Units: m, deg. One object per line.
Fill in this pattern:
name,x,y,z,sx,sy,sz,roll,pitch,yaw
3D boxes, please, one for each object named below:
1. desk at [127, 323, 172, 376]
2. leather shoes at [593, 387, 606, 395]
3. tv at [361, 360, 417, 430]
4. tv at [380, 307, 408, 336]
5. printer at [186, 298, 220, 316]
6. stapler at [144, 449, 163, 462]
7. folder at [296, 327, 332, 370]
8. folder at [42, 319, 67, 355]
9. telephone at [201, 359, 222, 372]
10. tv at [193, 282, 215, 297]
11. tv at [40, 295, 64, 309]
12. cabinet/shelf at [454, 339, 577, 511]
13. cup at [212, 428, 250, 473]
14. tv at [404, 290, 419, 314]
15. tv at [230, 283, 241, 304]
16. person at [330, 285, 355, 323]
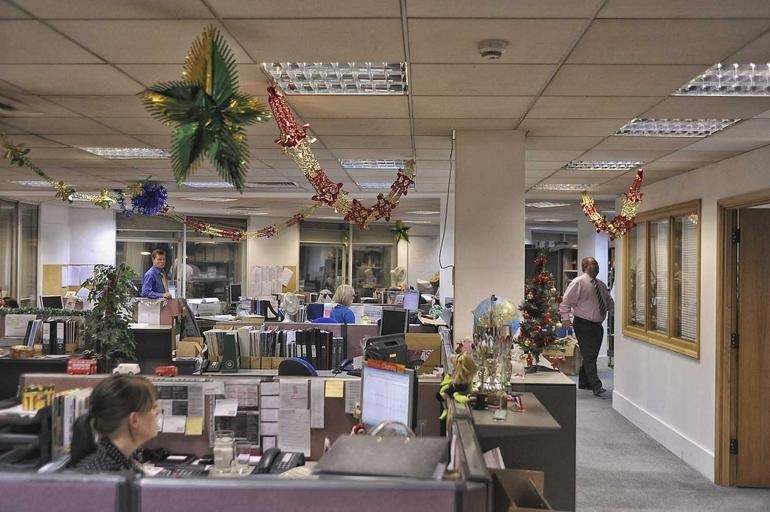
desk,-2.579,0.994,6.814,0.664,0.624,0.466,0,-2,-11
leather shoes,3.238,2.066,9.122,0.091,0.101,0.239,-4,-15,-22
tv,0.022,0.906,3.844,0.156,0.374,0.457,3,-3,-44
tv,0.070,0.714,6.519,0.296,0.267,0.070,-3,-10,31
printer,-3.640,1.022,12.088,0.624,0.342,0.672,1,0,11
stapler,-1.604,1.379,4.152,0.077,0.035,0.091,2,-2,-3
folder,-0.729,0.980,6.568,0.396,0.499,0.523,-1,0,2
folder,-3.567,0.872,6.445,0.281,0.366,0.100,9,5,16
telephone,-1.754,1.106,6.019,0.114,0.049,0.152,2,12,-3
tv,-4.628,0.864,15.175,0.648,0.337,0.605,0,-2,-31
tv,-5.428,0.760,9.759,0.327,0.328,0.266,2,-14,-20
cabinet/shelf,1.036,1.387,4.377,0.778,0.977,1.640,9,5,20
cup,-1.011,1.264,3.895,0.205,0.327,0.246,0,1,2
tv,0.384,0.687,8.877,0.051,0.371,0.325,7,-4,-40
tv,-2.762,0.706,10.983,0.292,0.379,0.038,11,-23,-43
person,-0.501,0.571,7.250,0.273,0.385,0.976,7,5,-4
